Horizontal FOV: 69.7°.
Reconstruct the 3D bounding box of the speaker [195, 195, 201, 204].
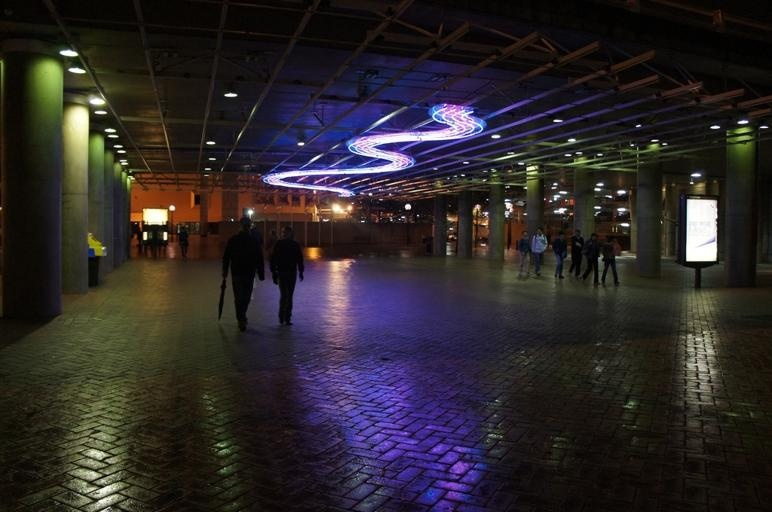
[{"bbox_3d":[-20.387,-6.076,59.930,0.413,0.922,3.595,-1,7,-15],"label":"speaker"}]
